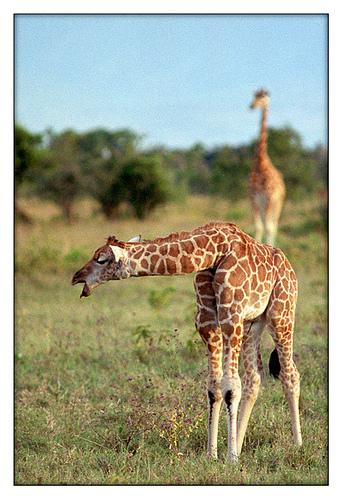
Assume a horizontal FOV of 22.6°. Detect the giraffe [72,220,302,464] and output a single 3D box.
[{"bbox_3d":[0.270,0.851,7.514,2.130,2.227,0.656,-2,6,-29],"label":"giraffe"}]
